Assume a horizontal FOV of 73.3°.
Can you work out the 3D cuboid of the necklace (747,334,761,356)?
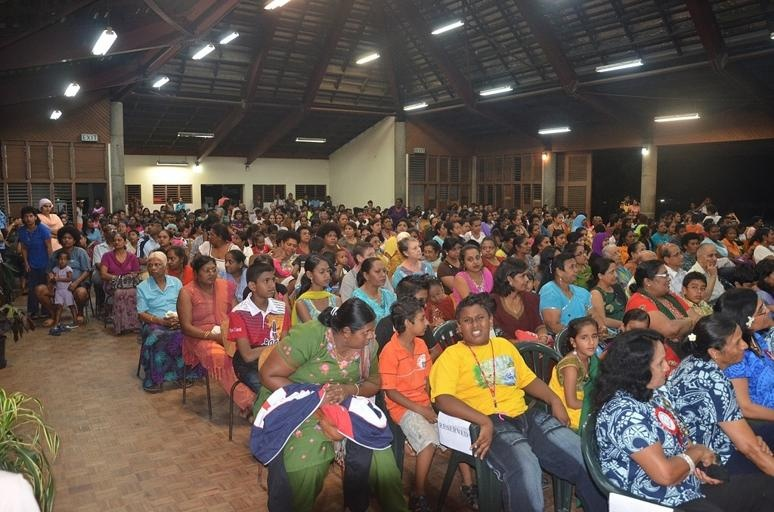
[{"bbox_3d":[2.923,0.711,4.168,0.080,0.120,0.038,4,-26,-30],"label":"necklace"}]

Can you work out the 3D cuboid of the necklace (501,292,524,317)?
[{"bbox_3d":[1.291,0.493,5.415,0.192,0.287,0.141,-5,-6,-14],"label":"necklace"}]

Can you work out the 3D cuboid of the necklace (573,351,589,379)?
[{"bbox_3d":[1.565,0.878,4.231,0.113,0.219,0.209,0,3,38],"label":"necklace"}]

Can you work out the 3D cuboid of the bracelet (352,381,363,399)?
[{"bbox_3d":[-0.232,1.045,4.058,0.077,0.064,0.072,-7,11,-37],"label":"bracelet"}]

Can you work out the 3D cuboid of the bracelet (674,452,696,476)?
[{"bbox_3d":[1.926,1.351,3.377,0.037,0.141,0.142,-23,32,-12],"label":"bracelet"}]

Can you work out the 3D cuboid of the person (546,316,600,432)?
[{"bbox_3d":[1.583,0.959,4.209,0.400,0.967,0.530,-3,9,-9],"label":"person"}]

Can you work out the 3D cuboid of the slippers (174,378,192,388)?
[{"bbox_3d":[-2.377,1.490,6.135,0.181,0.093,0.240,0,2,-39],"label":"slippers"}]
